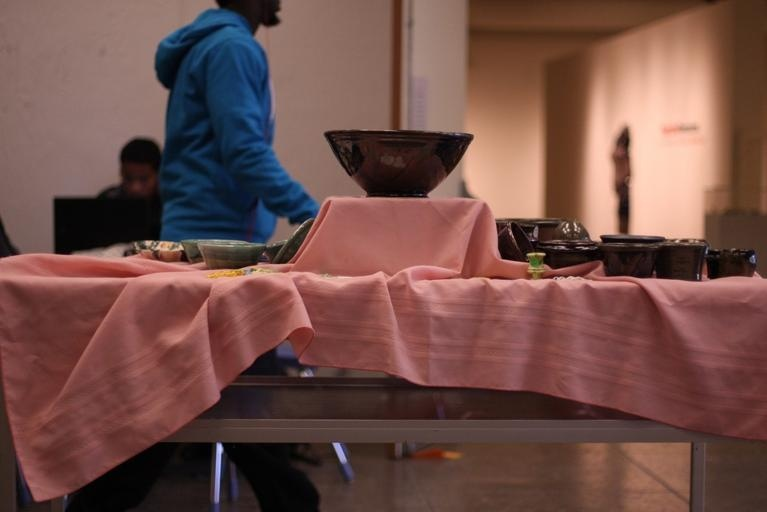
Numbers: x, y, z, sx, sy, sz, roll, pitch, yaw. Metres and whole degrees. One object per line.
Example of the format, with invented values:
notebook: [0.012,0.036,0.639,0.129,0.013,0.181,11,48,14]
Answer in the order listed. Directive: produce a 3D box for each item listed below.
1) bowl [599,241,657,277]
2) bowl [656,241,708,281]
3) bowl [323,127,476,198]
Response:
bowl: [0.669,0.027,2.214,0.149,0.108,0.146,1,-6,0]
bowl: [0.787,0.015,2.162,0.103,0.097,0.122,1,1,11]
bowl: [0.039,-0.256,2.283,0.406,0.189,0.156,-1,6,-6]
